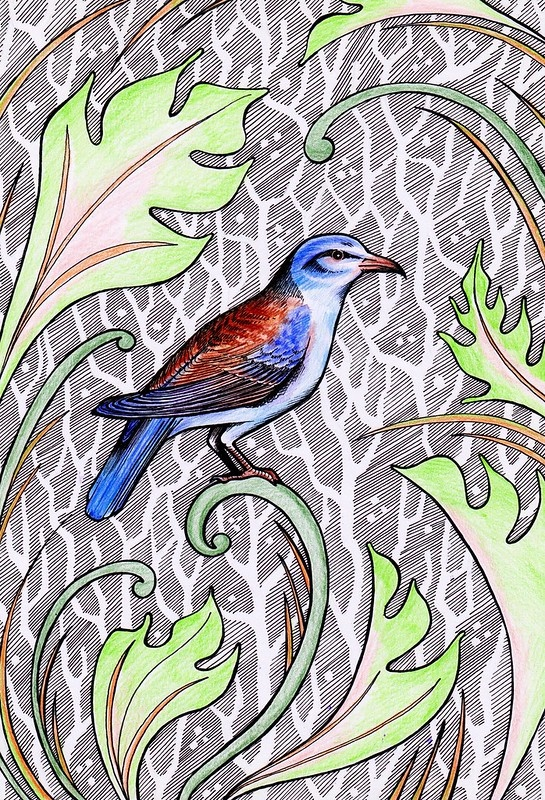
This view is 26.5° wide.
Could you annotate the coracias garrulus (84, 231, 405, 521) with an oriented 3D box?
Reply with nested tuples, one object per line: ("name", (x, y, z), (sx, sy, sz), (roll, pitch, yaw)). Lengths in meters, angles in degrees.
("coracias garrulus", (-0.029, -0.031, 1.039), (0.307, 0.212, 0.120), (-8, 10, -12))
